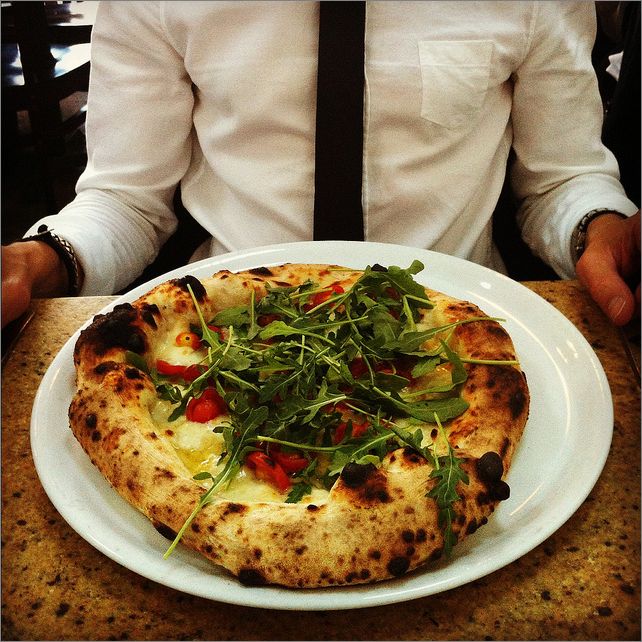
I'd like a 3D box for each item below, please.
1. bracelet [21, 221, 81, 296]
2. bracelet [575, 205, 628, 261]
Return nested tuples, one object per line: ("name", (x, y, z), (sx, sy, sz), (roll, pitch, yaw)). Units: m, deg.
("bracelet", (-1.079, -0.267, 2.504), (0.179, 0.376, 0.337), (-2, 81, -5))
("bracelet", (1.180, -0.385, 2.670), (0.235, 0.216, 0.214), (0, 20, 11))
